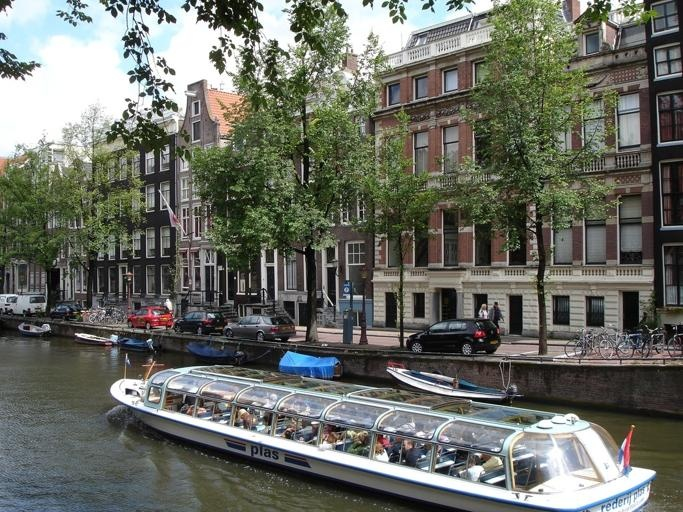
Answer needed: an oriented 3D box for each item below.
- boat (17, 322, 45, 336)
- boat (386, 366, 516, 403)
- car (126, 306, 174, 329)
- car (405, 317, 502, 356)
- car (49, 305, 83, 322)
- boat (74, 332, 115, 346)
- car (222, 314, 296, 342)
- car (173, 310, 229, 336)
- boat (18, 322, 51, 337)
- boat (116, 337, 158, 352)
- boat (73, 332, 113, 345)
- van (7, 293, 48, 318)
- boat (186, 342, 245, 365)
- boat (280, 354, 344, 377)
[{"bbox_3d":[-22.734,5.539,55.017,1.122,0.745,2.636,-11,9,-39],"label":"boat"},{"bbox_3d":[4.047,5.486,29.505,5.679,0.940,1.464,5,7,40],"label":"boat"},{"bbox_3d":[-12.707,4.066,49.095,2.635,0.990,1.520,2,1,41],"label":"car"},{"bbox_3d":[4.931,3.570,32.967,3.340,1.209,1.779,0,-2,32],"label":"car"},{"bbox_3d":[-21.146,4.408,58.063,2.601,1.006,1.497,3,2,32],"label":"car"},{"bbox_3d":[-16.082,5.487,48.740,3.402,0.453,1.075,4,5,35],"label":"boat"},{"bbox_3d":[-4.565,3.947,40.824,3.522,0.972,1.562,0,-1,37],"label":"car"},{"bbox_3d":[-8.323,3.991,44.667,2.793,1.038,1.365,1,-2,37],"label":"car"},{"bbox_3d":[-22.918,5.489,55.219,1.021,0.665,3.150,-6,5,-43],"label":"boat"},{"bbox_3d":[-12.383,5.361,45.305,2.948,0.536,0.972,1,4,44],"label":"boat"},{"bbox_3d":[-16.016,5.479,48.691,3.838,0.492,0.999,3,4,36],"label":"boat"},{"bbox_3d":[-26.793,4.258,64.341,4.220,1.923,2.176,1,-1,41],"label":"van"},{"bbox_3d":[-6.514,5.189,38.823,1.180,0.841,3.567,-12,10,-43],"label":"boat"},{"bbox_3d":[-1.479,4.819,32.553,1.843,0.522,1.324,0,-2,20],"label":"boat"}]
